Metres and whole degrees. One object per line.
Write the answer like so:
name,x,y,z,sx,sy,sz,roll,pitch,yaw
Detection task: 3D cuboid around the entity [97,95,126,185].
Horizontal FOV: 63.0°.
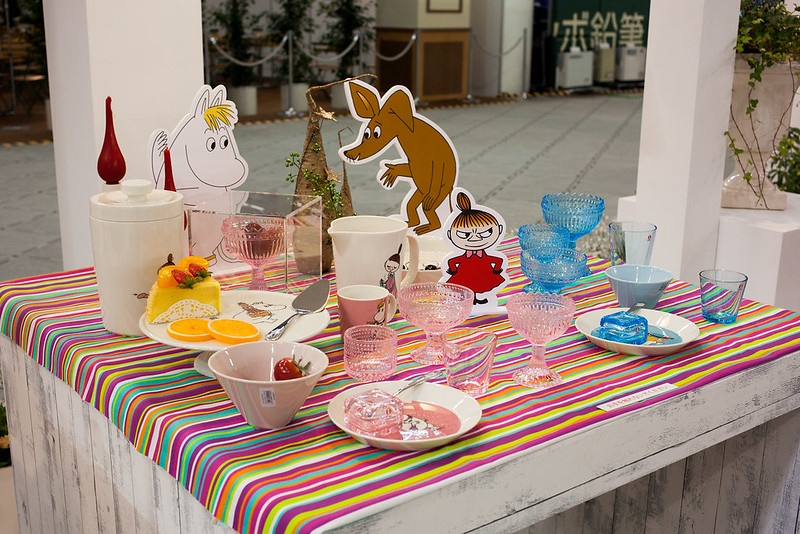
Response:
entity,-0.831,-0.360,1.847,0.071,0.240,0.161,-8,16,-24

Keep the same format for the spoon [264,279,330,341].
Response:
spoon,-0.251,0.088,1.623,0.059,0.038,0.242,12,31,13

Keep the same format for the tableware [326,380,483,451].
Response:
tableware,0.036,0.301,1.396,0.172,0.029,0.180,-6,23,-17

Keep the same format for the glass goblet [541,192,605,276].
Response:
glass goblet,0.510,-0.123,2.126,0.222,0.275,0.238,-2,17,-4

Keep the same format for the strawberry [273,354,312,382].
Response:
strawberry,-0.226,0.216,1.369,0.081,0.042,0.119,-5,16,-14

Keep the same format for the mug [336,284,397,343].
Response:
mug,-0.081,0.117,1.722,0.146,0.122,0.120,-5,16,-10

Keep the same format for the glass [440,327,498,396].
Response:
glass,0.165,0.231,1.579,0.158,0.155,0.137,1,0,-37

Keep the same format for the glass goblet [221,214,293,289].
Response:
glass goblet,-0.409,-0.028,1.857,0.181,0.229,0.188,-5,13,-18

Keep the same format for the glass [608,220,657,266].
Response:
glass,0.724,-0.070,2.051,0.123,0.150,0.129,-8,31,0

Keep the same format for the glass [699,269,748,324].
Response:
glass,0.908,0.078,1.906,0.131,0.160,0.145,-1,7,0

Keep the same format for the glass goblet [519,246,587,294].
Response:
glass goblet,0.431,0.022,1.985,0.189,0.132,0.199,5,1,33

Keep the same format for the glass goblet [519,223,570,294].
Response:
glass goblet,0.416,-0.020,2.033,0.169,0.219,0.182,-1,24,-4

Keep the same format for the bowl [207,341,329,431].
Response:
bowl,-0.288,0.233,1.377,0.196,0.112,0.197,1,17,0

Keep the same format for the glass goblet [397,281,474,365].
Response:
glass goblet,0.091,0.139,1.656,0.172,0.178,0.190,-1,8,21

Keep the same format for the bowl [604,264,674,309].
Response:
bowl,0.708,0.072,1.898,0.174,0.105,0.192,-4,-13,13

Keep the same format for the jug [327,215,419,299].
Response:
jug,-0.082,-0.042,1.894,0.253,0.250,0.176,-3,17,-26

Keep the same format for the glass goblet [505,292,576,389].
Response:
glass goblet,0.340,0.171,1.599,0.164,0.220,0.186,-2,9,-13

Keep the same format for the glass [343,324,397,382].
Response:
glass,-0.077,0.213,1.592,0.135,0.112,0.139,0,7,-22
